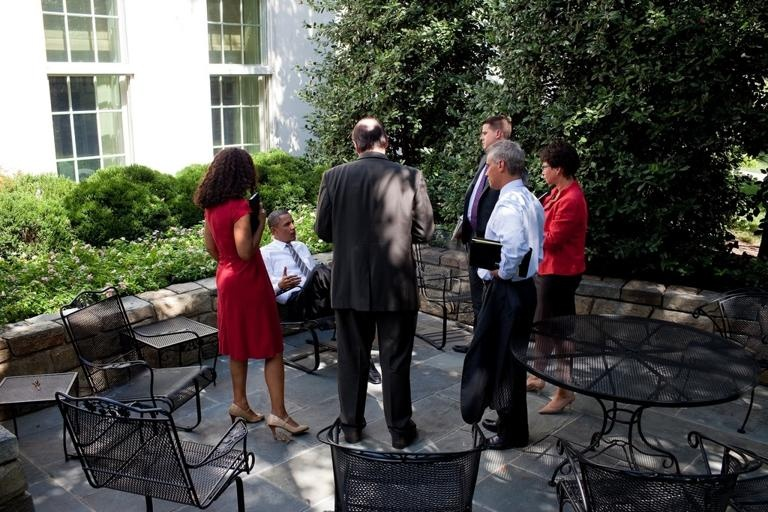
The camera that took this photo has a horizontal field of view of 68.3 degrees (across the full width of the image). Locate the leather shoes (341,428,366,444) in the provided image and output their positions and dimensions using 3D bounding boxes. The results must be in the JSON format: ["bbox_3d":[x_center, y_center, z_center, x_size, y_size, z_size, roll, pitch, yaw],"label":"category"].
[{"bbox_3d":[-0.250,1.442,4.600,0.152,0.124,0.126,-1,8,10],"label":"leather shoes"}]

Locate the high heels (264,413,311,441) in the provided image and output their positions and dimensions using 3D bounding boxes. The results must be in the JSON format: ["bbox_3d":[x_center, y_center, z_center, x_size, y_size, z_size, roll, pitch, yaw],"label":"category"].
[{"bbox_3d":[-0.791,1.387,4.634,0.418,0.237,0.143,-3,4,-18],"label":"high heels"}]

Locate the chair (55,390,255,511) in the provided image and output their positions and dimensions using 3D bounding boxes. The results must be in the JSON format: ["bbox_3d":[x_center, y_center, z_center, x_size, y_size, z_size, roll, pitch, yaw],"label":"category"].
[{"bbox_3d":[-1.570,1.336,3.810,0.628,0.895,0.642,7,24,17],"label":"chair"}]

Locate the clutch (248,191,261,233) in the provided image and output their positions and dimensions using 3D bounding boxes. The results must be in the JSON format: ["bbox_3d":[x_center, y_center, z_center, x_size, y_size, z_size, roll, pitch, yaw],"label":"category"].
[{"bbox_3d":[-1.008,-0.330,4.416,0.081,0.326,0.078,-3,10,-13],"label":"clutch"}]

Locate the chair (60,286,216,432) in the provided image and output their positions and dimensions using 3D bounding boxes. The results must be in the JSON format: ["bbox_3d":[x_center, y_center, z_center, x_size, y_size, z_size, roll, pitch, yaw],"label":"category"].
[{"bbox_3d":[-2.002,0.965,4.697,0.903,1.300,0.771,2,13,13],"label":"chair"}]

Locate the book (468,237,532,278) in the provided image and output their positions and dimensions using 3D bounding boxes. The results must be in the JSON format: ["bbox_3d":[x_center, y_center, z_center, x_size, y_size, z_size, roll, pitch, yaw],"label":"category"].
[{"bbox_3d":[0.779,-0.004,4.243,0.404,0.300,0.096,14,19,14],"label":"book"}]

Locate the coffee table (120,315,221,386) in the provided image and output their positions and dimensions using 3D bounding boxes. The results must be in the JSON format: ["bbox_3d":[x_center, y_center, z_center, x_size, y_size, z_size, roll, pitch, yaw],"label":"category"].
[{"bbox_3d":[-1.947,0.860,5.412,0.703,0.721,0.666,16,21,37],"label":"coffee table"}]

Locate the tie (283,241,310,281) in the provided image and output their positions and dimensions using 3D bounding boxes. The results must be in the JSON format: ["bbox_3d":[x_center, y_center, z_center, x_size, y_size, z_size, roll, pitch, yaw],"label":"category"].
[{"bbox_3d":[-0.847,0.059,5.662,0.132,0.496,0.047,-37,8,-15],"label":"tie"}]

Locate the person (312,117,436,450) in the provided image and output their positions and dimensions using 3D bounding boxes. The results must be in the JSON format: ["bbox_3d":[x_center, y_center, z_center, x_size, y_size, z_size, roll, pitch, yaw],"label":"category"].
[{"bbox_3d":[-0.080,0.377,4.443,0.897,2.263,0.287,1,10,10],"label":"person"}]

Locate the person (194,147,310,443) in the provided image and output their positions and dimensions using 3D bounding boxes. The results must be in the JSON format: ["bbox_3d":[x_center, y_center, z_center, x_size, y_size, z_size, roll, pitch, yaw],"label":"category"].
[{"bbox_3d":[-1.096,0.311,4.548,0.717,2.313,0.310,5,11,29],"label":"person"}]
